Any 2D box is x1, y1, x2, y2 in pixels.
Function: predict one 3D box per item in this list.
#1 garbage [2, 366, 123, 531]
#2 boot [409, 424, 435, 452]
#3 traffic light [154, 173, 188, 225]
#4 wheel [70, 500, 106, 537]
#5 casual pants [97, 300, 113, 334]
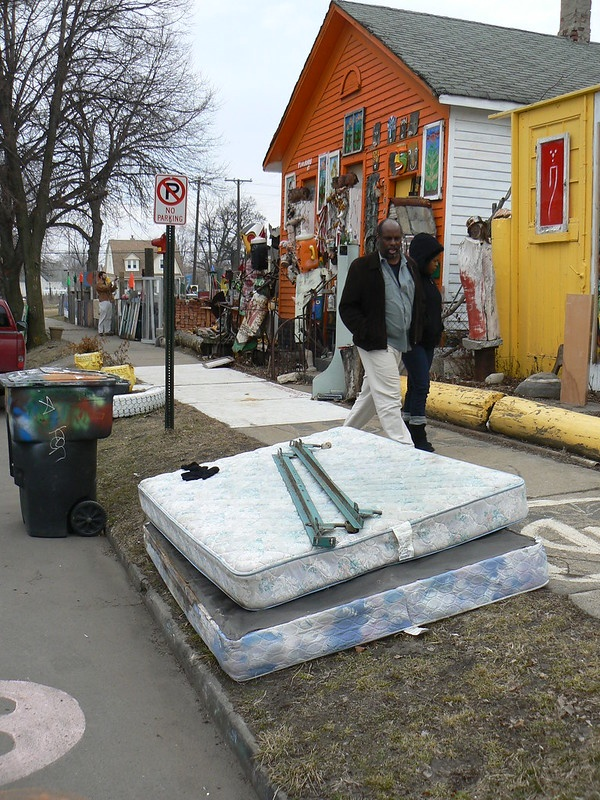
[{"bbox_3d":[-1.751,0.305,5.255,1.160,1.446,0.873,2,8,-24],"label":"garbage"},{"bbox_3d":[1.077,0.342,5.828,0.129,0.220,0.198,-16,13,-7],"label":"boot"},{"bbox_3d":[-1.479,-2.311,7.470,0.570,0.523,0.255,-11,5,-44],"label":"traffic light"},{"bbox_3d":[-1.566,0.864,4.775,0.279,0.279,0.100,1,5,-11],"label":"wheel"},{"bbox_3d":[-7.819,-3.318,26.138,0.892,1.180,0.372,-7,4,24],"label":"casual pants"}]
